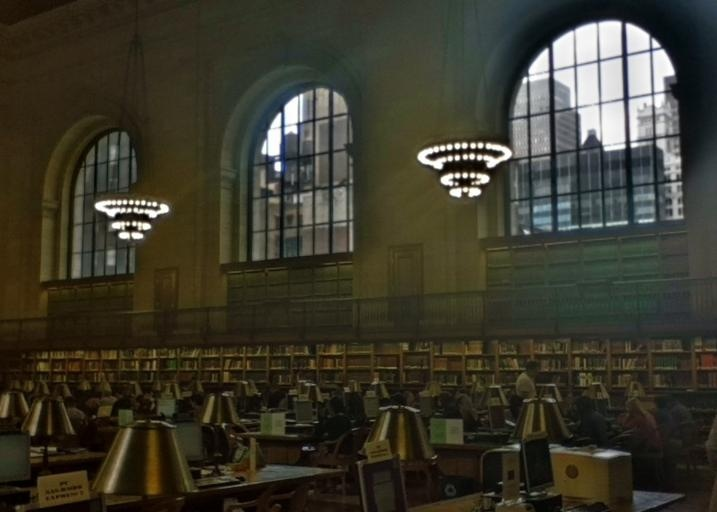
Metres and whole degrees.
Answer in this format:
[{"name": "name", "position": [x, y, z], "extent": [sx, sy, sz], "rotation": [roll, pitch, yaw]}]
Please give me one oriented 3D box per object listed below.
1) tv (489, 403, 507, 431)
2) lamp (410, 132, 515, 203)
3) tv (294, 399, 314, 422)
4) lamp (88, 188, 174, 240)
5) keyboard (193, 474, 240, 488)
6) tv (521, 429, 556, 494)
[{"name": "tv", "position": [1.996, 2.345, 11.824], "extent": [0.201, 0.376, 0.384], "rotation": [-5, -7, 31]}, {"name": "lamp", "position": [2.200, -1.776, 16.963], "extent": [1.897, 0.967, 1.967], "rotation": [1, -12, -1]}, {"name": "tv", "position": [-0.919, 2.641, 13.774], "extent": [0.288, 0.425, 0.341], "rotation": [0, -18, -4]}, {"name": "lamp", "position": [-5.638, -1.071, 20.497], "extent": [1.408, 0.693, 1.379], "rotation": [8, -11, -44]}, {"name": "keyboard", "position": [-1.565, 2.501, 9.053], "extent": [0.470, 0.065, 0.326], "rotation": [5, -6, -42]}, {"name": "tv", "position": [1.747, 2.034, 8.035], "extent": [0.054, 0.550, 0.505], "rotation": [-16, -15, 39]}]
